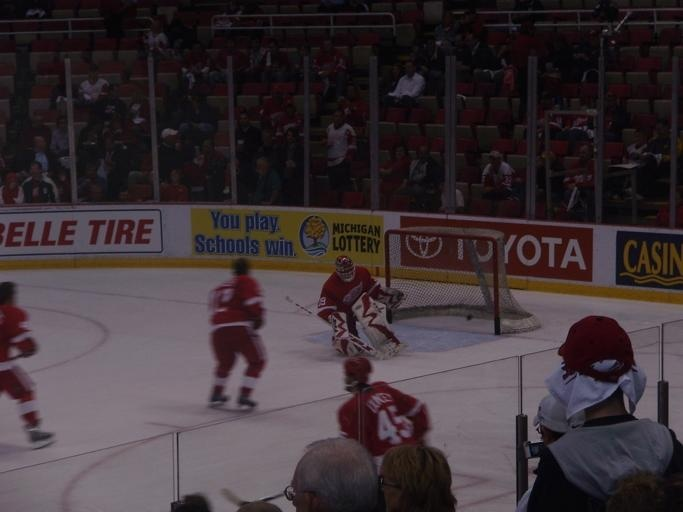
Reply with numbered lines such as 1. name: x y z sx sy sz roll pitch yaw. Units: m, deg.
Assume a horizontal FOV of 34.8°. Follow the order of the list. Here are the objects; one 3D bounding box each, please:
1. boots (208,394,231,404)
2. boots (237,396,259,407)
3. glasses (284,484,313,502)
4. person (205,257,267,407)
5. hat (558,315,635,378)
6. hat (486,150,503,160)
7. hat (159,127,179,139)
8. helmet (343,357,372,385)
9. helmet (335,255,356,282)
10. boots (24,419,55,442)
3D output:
1. boots: -1.267 1.455 11.032 0.227 0.136 0.072 -6 20 -8
2. boots: -0.974 1.468 10.916 0.152 0.077 0.193 1 -1 -2
3. glasses: -0.238 1.261 5.758 0.181 0.053 0.162 3 -4 -9
4. person: -1.098 0.798 10.927 0.641 1.450 0.578 -9 16 -19
5. hat: 1.387 0.511 6.007 0.295 0.196 0.392 -7 21 -1
6. hat: 2.081 -1.358 14.794 0.117 0.077 0.150 -2 -42 36
7. hat: -2.713 -1.879 16.743 0.231 0.128 0.060 -6 -23 13
8. helmet: 0.085 0.873 8.225 0.219 0.191 0.167 6 4 15
9. helmet: 0.018 0.145 12.538 0.216 0.283 0.241 -3 15 2
10. boots: -2.884 1.662 10.259 0.289 0.126 0.182 -7 -6 44
